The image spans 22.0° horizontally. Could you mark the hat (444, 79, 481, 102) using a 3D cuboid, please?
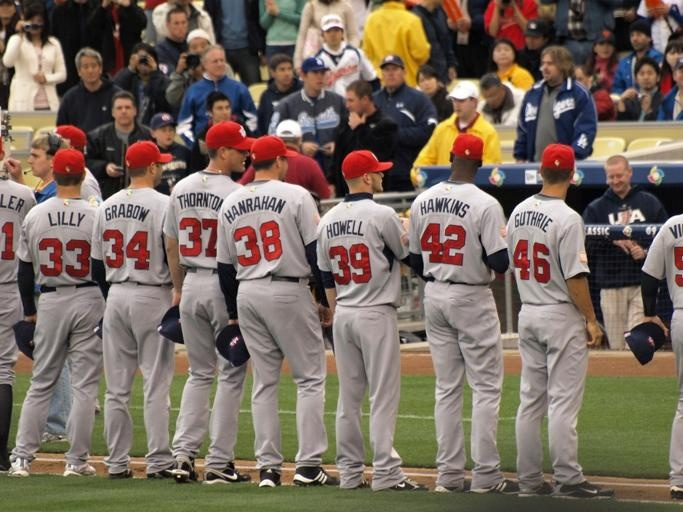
[{"bbox_3d":[1.406,-1.823,19.374,0.311,0.215,0.418,0,0,30],"label":"hat"}]

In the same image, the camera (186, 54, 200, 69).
[{"bbox_3d":[-1.790,-2.363,21.219,0.159,0.150,0.141,-15,12,2],"label":"camera"}]

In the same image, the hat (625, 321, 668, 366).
[{"bbox_3d":[2.747,0.785,15.840,0.293,0.387,0.314,-38,29,-4],"label":"hat"}]

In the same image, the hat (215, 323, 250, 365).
[{"bbox_3d":[-0.987,0.796,15.831,0.294,0.384,0.159,-1,-6,-4],"label":"hat"}]

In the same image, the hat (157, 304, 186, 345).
[{"bbox_3d":[-1.562,0.603,15.999,0.230,0.349,0.174,-1,-6,-7],"label":"hat"}]

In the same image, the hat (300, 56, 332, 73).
[{"bbox_3d":[-0.315,-2.172,19.936,0.266,0.132,0.192,-4,7,18],"label":"hat"}]

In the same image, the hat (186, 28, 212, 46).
[{"bbox_3d":[-1.763,-2.702,21.518,0.271,0.187,0.260,1,-1,-1],"label":"hat"}]

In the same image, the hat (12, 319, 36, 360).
[{"bbox_3d":[-2.968,0.790,16.465,0.114,0.318,0.315,-28,26,20],"label":"hat"}]
